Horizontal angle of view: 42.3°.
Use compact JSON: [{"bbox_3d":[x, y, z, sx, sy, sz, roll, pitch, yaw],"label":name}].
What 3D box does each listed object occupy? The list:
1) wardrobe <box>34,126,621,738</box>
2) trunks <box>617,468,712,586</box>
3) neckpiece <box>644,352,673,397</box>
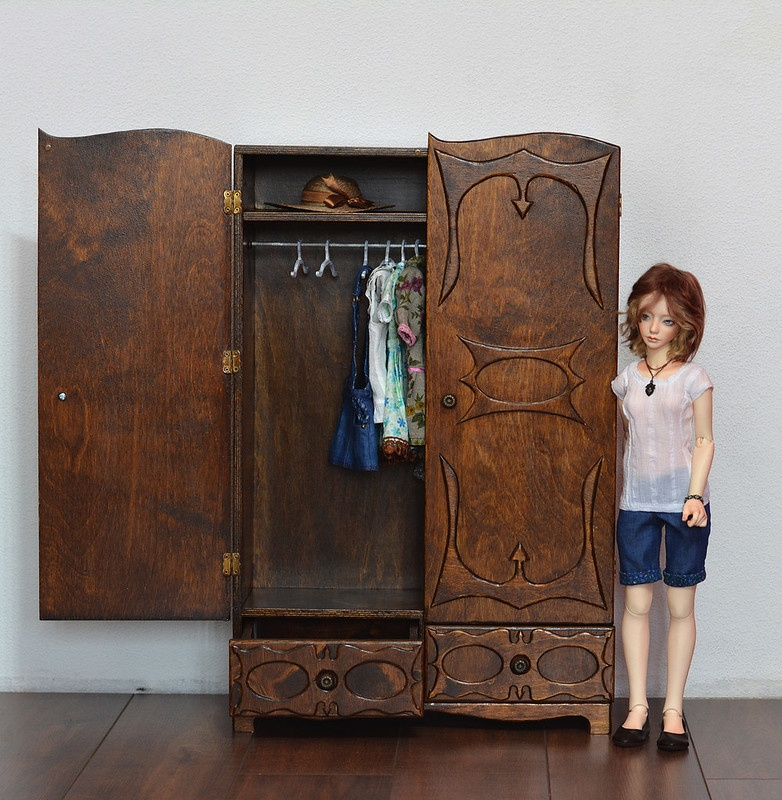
[{"bbox_3d":[-0.183,0.069,3.415,1.821,2.086,0.546,0,-4,0],"label":"wardrobe"},{"bbox_3d":[0.881,0.437,3.326,0.272,0.374,0.134,-3,31,13],"label":"trunks"},{"bbox_3d":[0.863,-0.081,3.262,0.125,0.174,0.014,5,-22,34],"label":"neckpiece"}]
